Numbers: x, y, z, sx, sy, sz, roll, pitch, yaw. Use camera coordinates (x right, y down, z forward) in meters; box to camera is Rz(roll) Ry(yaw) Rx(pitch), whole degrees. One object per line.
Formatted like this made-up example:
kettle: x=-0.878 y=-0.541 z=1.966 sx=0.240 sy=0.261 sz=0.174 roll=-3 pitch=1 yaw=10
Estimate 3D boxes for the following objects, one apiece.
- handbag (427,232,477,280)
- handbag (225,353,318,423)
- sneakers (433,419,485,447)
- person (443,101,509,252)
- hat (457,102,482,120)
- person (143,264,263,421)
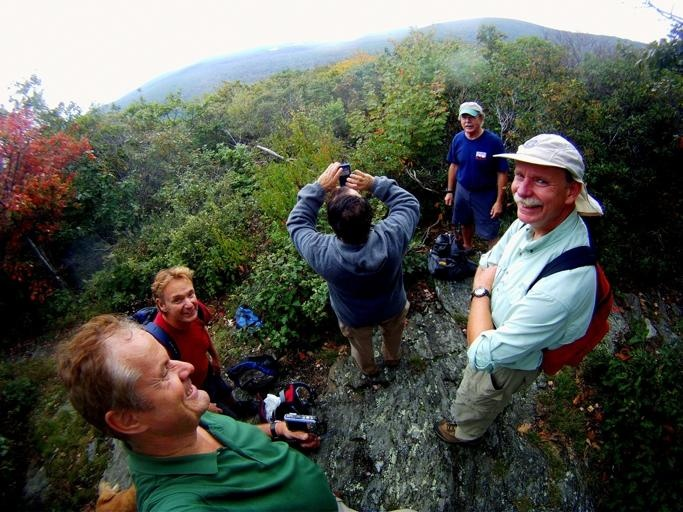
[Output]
handbag: x=1.711 y=0.040 z=6.295 sx=0.629 sy=0.355 sz=0.764 roll=-2 pitch=25 yaw=9
handbag: x=-0.974 y=1.801 z=5.600 sx=0.979 sy=0.770 sz=0.402 roll=-2 pitch=22 yaw=35
sneakers: x=1.379 y=2.076 z=4.714 sx=0.567 sy=0.270 sz=0.231 roll=8 pitch=38 yaw=44
person: x=2.140 y=-1.102 z=6.348 sx=1.046 sy=2.589 sz=0.784 roll=21 pitch=44 yaw=41
hat: x=1.897 y=-2.141 z=5.851 sx=0.312 sy=0.215 sz=0.344 roll=-2 pitch=26 yaw=25
person: x=-1.724 y=1.133 z=5.235 sx=0.591 sy=1.911 sz=0.764 roll=3 pitch=71 yaw=13
